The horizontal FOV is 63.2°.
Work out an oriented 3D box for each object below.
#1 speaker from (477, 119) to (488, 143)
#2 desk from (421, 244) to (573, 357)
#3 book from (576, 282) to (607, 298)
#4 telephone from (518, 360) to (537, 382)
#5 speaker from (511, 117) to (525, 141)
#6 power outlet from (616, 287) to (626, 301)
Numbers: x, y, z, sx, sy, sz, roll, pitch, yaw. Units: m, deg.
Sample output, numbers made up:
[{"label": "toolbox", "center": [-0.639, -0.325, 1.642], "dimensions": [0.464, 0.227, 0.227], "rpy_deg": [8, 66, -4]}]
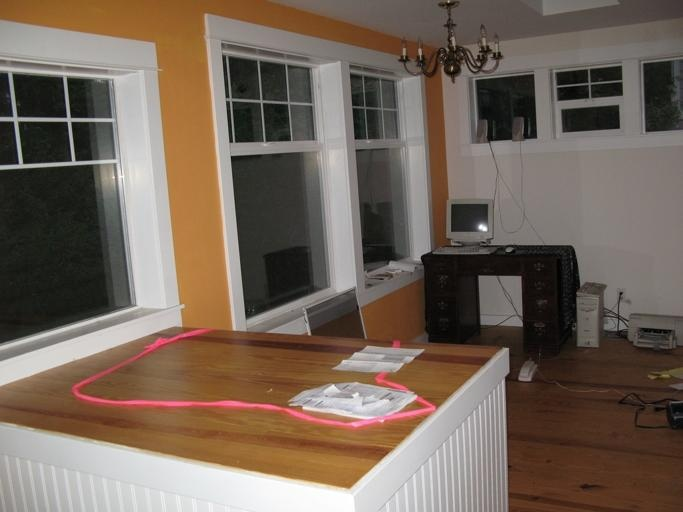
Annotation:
[{"label": "speaker", "center": [1.525, -1.345, 6.044], "dimensions": [0.095, 0.247, 0.171], "rpy_deg": [0, 15, 26]}, {"label": "desk", "center": [1.638, 0.445, 5.674], "dimensions": [1.395, 0.879, 0.800], "rpy_deg": [-1, 2, 36]}, {"label": "book", "center": [2.449, 0.326, 5.443], "dimensions": [0.159, 0.053, 0.244], "rpy_deg": [2, 15, 27]}, {"label": "telephone", "center": [1.599, 0.984, 4.765], "dimensions": [0.097, 0.068, 0.247], "rpy_deg": [-2, 12, 30]}, {"label": "speaker", "center": [1.889, -1.345, 5.940], "dimensions": [0.127, 0.255, 0.215], "rpy_deg": [-1, 14, 22]}, {"label": "power outlet", "center": [2.908, 0.420, 5.775], "dimensions": [0.069, 0.154, 0.034], "rpy_deg": [0, 15, 23]}]
